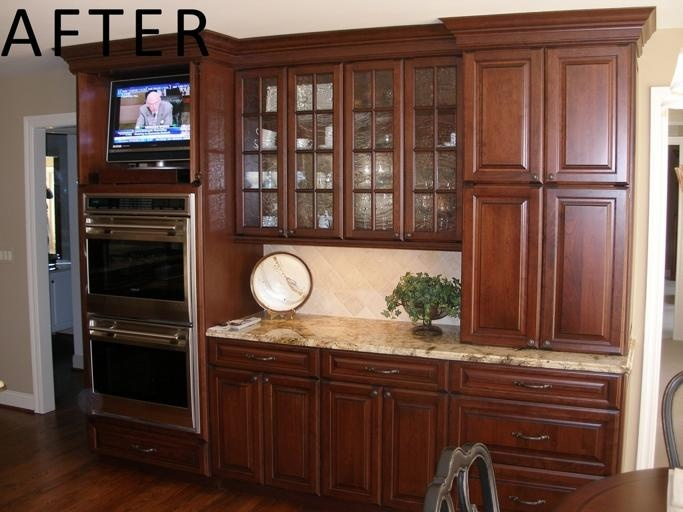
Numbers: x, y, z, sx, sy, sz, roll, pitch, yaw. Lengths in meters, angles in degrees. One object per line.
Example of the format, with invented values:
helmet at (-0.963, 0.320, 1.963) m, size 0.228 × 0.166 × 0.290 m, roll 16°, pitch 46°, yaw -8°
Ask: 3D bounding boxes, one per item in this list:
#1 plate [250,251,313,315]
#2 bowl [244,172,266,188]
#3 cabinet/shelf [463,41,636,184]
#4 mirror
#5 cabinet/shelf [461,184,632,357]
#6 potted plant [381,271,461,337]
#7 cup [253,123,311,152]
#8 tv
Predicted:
plate at (-0.423, 0.180, 4.418) m, size 0.482 × 0.459 × 0.102 m, roll -31°, pitch 0°, yaw 16°
bowl at (-0.637, -0.563, 4.295) m, size 0.141 × 0.102 × 0.121 m, roll 0°, pitch 4°, yaw 4°
cabinet/shelf at (1.339, -0.898, 3.620) m, size 0.456 × 0.892 × 1.126 m, roll -22°, pitch 24°, yaw -39°
mirror at (-0.441, 0.203, 4.322) m, size 0.506 × 0.457 × 0.116 m, roll -7°, pitch 5°, yaw 15°
cabinet/shelf at (1.262, 0.062, 3.499) m, size 1.168 × 0.986 × 0.461 m, roll 2°, pitch 2°, yaw 18°
potted plant at (0.535, 0.318, 3.950) m, size 0.505 × 0.421 × 0.265 m, roll -1°, pitch 7°, yaw 6°
cup at (-0.416, -0.844, 4.140) m, size 0.267 × 0.078 × 0.192 m, roll 2°, pitch 2°, yaw 29°
tv at (-1.411, -0.995, 4.257) m, size 0.093 × 0.607 × 0.867 m, roll 13°, pitch 20°, yaw 19°
